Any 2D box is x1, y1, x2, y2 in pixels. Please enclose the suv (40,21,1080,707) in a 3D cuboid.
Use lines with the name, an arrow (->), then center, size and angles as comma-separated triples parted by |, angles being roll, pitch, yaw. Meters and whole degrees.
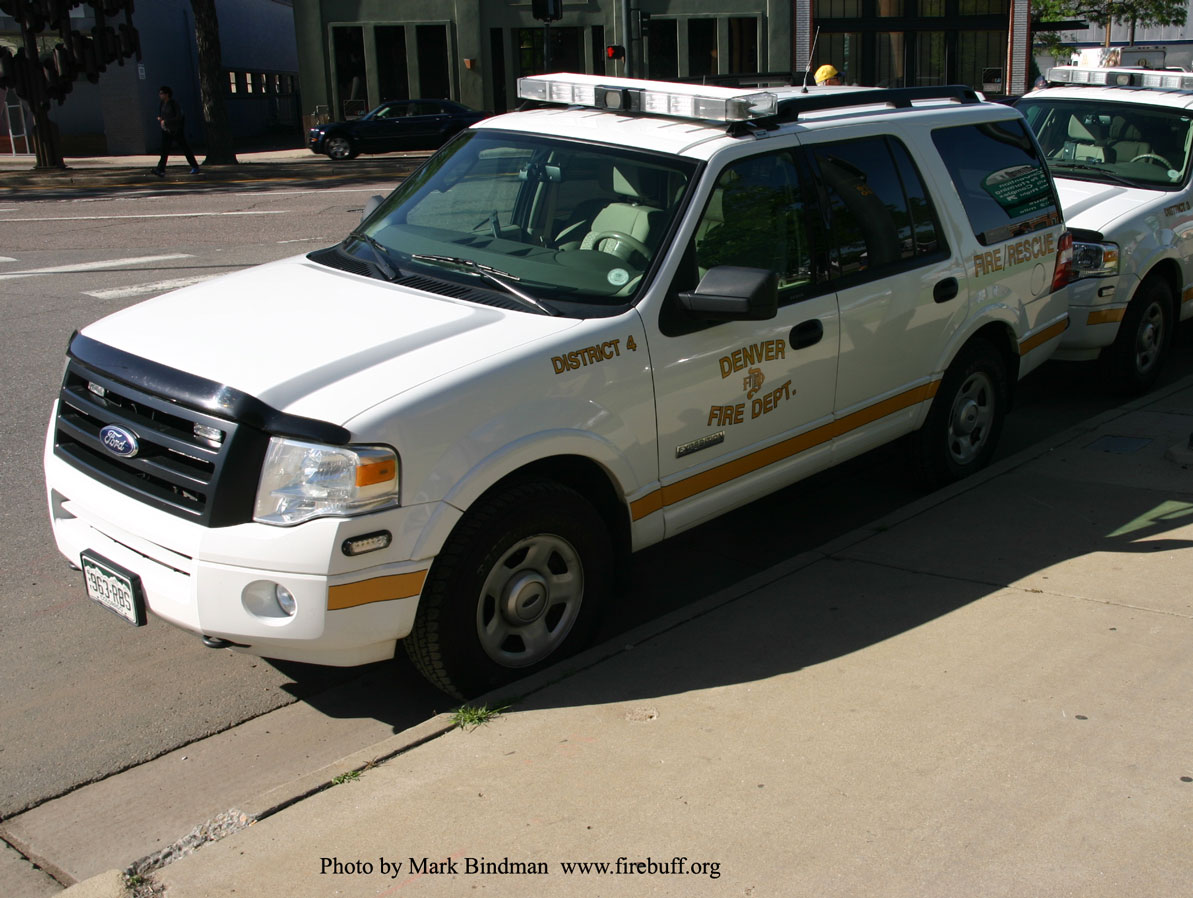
suv -> 0.325, -0.754, 5.144 | 5.764, 2.412, 2.253 | -19, 25, -40

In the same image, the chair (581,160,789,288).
chair -> 0.544, -1.078, 4.489 | 1.027, 0.430, 0.607 | -14, 24, -27

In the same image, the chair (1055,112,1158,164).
chair -> 4.510, -2.704, 8.290 | 0.652, 0.571, 0.390 | 4, 1, 26
